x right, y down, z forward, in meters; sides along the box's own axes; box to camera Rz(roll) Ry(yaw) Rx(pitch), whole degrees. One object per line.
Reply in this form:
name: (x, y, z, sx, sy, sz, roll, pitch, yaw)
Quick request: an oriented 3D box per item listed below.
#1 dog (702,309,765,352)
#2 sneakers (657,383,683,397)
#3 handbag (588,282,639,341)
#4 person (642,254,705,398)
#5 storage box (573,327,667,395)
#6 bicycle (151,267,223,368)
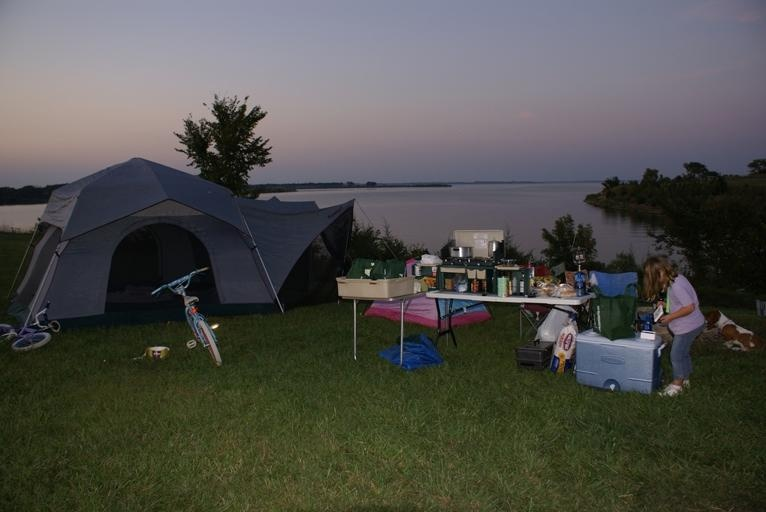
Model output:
dog: (5.575, 1.177, 8.634, 0.378, 0.543, 0.688, -7, 7, -22)
sneakers: (3.657, 1.711, 6.889, 0.249, 0.118, 0.263, 0, 7, 32)
handbag: (2.992, 0.746, 7.304, 0.675, 0.939, 0.536, 2, -4, -21)
person: (3.789, 0.878, 7.001, 0.721, 1.739, 0.689, -2, 7, 19)
storage box: (3.053, 1.414, 7.075, 1.194, 0.826, 0.710, 0, -3, 30)
bicycle: (-2.953, 0.942, 9.112, 1.233, 1.224, 1.981, -36, 6, -9)
